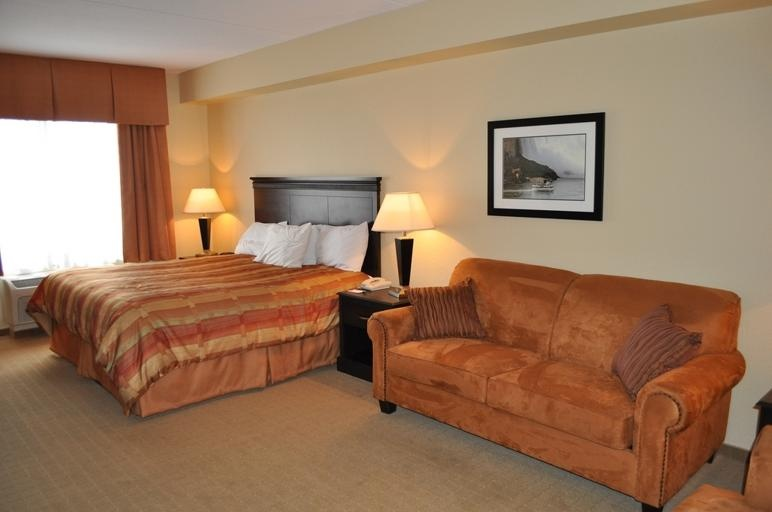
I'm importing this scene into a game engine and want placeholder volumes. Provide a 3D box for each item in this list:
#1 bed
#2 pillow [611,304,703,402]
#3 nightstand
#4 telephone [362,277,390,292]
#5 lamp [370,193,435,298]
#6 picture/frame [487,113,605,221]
[{"bbox_3d":[-1.968,0.162,5.664,2.979,2.079,2.791,-8,12,-43],"label":"bed"},{"bbox_3d":[1.911,0.662,3.602,0.555,0.545,0.370,-2,10,-10],"label":"pillow"},{"bbox_3d":[-0.058,0.769,5.233,0.705,0.793,0.669,6,7,42],"label":"nightstand"},{"bbox_3d":[-0.099,0.281,5.166,0.174,0.041,0.175,7,9,41],"label":"telephone"},{"bbox_3d":[0.198,-0.133,5.279,0.670,0.989,0.607,-8,10,-35],"label":"lamp"},{"bbox_3d":[1.449,-0.797,4.488,1.076,0.851,0.040,3,5,35],"label":"picture/frame"}]
